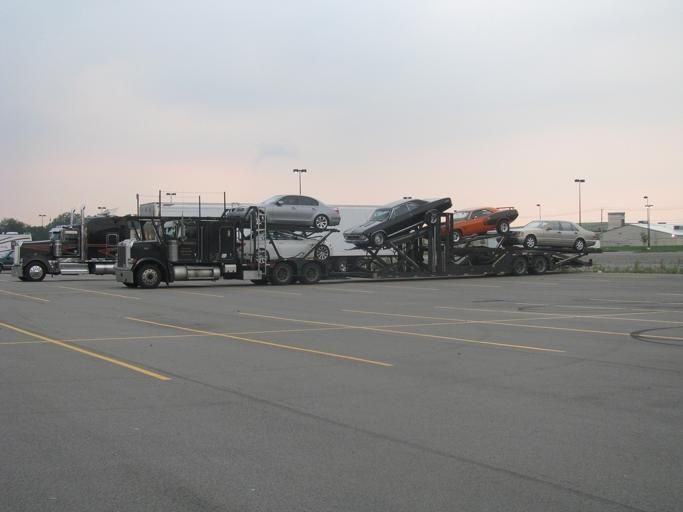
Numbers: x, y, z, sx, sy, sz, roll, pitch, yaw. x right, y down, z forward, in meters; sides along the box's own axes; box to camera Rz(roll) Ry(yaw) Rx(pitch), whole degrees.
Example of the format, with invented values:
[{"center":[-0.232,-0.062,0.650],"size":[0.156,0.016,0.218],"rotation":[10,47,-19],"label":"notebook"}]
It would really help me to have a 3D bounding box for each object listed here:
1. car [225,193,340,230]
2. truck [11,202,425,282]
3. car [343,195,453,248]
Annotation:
[{"center":[-1.872,-2.369,32.091],"size":[5.353,1.543,2.155],"rotation":[4,21,23],"label":"car"},{"center":[-4.848,-0.508,31.735],"size":[18.893,3.756,4.107],"rotation":[1,0,-20],"label":"truck"},{"center":[3.058,-1.558,33.548],"size":[5.634,1.546,2.484],"rotation":[-26,7,-20],"label":"car"}]
